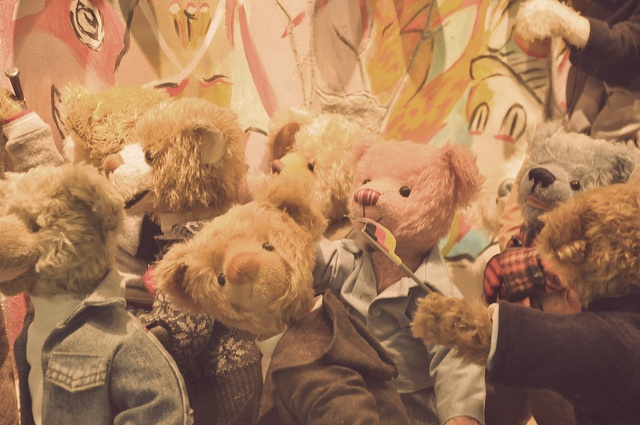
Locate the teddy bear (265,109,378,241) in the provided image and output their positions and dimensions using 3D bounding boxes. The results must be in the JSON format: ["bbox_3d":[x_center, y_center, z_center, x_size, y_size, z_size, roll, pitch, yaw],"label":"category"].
[{"bbox_3d":[0.004,-0.098,2.259,0.383,0.413,0.331,7,6,19],"label":"teddy bear"}]
